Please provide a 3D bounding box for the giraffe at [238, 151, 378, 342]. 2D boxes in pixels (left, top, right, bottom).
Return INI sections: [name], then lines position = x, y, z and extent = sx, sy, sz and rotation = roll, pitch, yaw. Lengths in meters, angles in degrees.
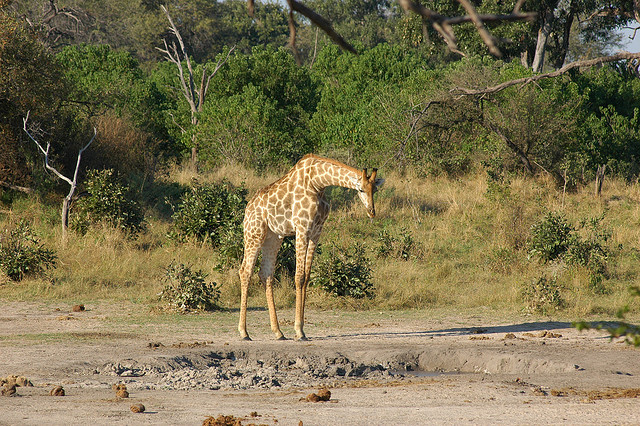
[giraffe]
position = -0.506, 1.236, 48.286
extent = 4.873, 6.749, 1.675
rotation = 0, 0, 20
